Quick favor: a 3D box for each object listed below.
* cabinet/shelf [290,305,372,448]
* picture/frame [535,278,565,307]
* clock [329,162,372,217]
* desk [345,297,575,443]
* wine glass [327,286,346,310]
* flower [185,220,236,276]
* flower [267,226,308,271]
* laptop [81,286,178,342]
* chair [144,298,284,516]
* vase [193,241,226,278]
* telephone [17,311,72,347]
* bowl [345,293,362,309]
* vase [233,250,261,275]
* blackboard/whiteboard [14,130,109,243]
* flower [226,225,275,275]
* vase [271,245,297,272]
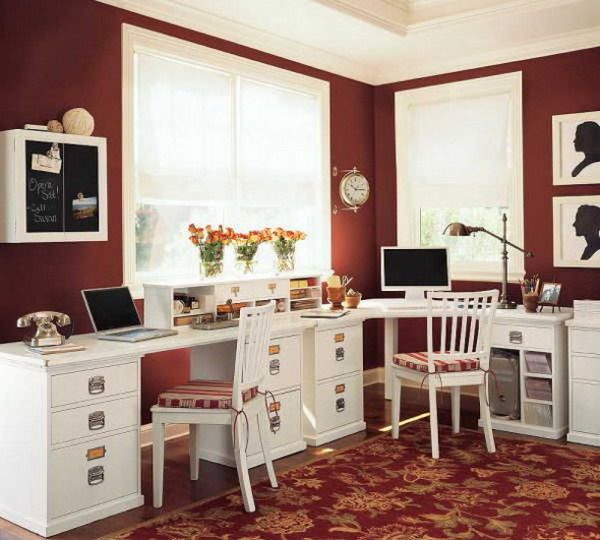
[{"bbox_3d":[0.140,0.759,3.746,0.449,0.810,0.532,-1,-1,41],"label":"cabinet/shelf"},{"bbox_3d":[1.911,0.180,3.994,0.212,0.262,0.028,3,-15,45],"label":"picture/frame"},{"bbox_3d":[0.536,-0.777,5.053,0.222,0.444,0.552,-1,0,35],"label":"clock"},{"bbox_3d":[1.226,0.708,4.082,1.471,0.869,0.565,-3,9,30],"label":"desk"},{"bbox_3d":[0.264,0.212,3.900,0.145,0.171,0.150,-1,1,-6],"label":"wine glass"},{"bbox_3d":[-0.636,-0.106,3.586,0.298,0.355,0.292,1,-1,-22],"label":"flower"},{"bbox_3d":[-0.108,-0.145,4.148,0.263,0.327,0.313,-1,-1,-12],"label":"flower"},{"bbox_3d":[-0.947,0.231,2.902,0.400,0.265,0.389,2,2,31],"label":"laptop"},{"bbox_3d":[-0.477,0.713,3.340,0.852,1.571,1.001,2,-1,11],"label":"chair"},{"bbox_3d":[-0.610,-0.019,3.583,0.180,0.237,0.190,-12,-25,8],"label":"vase"},{"bbox_3d":[-1.243,0.283,2.533,0.241,0.169,0.126,0,-3,-45],"label":"telephone"},{"bbox_3d":[0.434,0.250,4.205,0.110,0.083,0.113,-1,0,0],"label":"bowl"},{"bbox_3d":[-0.401,-0.055,3.823,0.171,0.190,0.158,-1,-1,-36],"label":"vase"},{"bbox_3d":[-1.286,-0.445,2.765,0.095,0.745,0.619,-1,-1,38],"label":"blackboard/whiteboard"},{"bbox_3d":[-0.364,-0.148,3.794,0.288,0.340,0.326,0,2,20],"label":"flower"},{"bbox_3d":[-0.126,-0.096,4.136,0.179,0.217,0.186,0,4,-2],"label":"vase"}]
